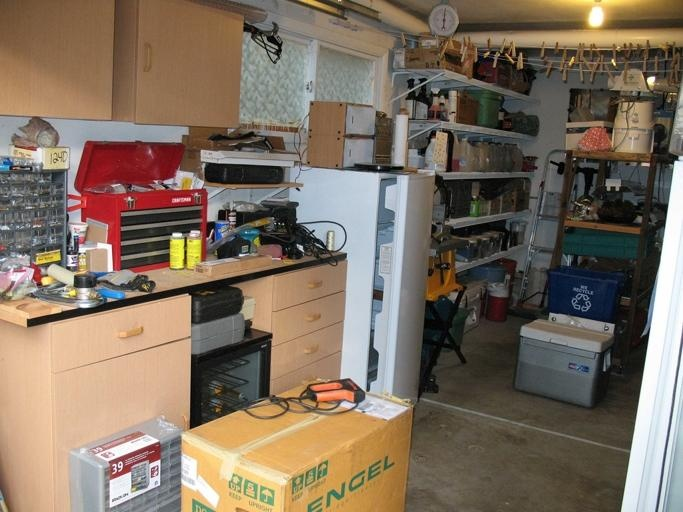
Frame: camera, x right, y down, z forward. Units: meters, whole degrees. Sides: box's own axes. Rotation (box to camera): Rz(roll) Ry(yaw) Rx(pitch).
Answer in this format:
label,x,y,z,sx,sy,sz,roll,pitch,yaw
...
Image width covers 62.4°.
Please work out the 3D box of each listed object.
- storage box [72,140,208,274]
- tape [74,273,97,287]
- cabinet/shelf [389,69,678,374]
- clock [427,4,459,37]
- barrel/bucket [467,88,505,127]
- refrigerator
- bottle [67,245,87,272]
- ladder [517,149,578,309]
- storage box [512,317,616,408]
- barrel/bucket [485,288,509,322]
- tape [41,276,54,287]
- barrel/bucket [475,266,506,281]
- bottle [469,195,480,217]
label,x,y,z,sx,sy,sz,roll,pitch,yaw
storage box,-1.050,-0.271,3.001,0.361,0.663,0.637,9,13,38
tape,-1.073,0.104,2.375,0.085,0.059,0.056,-1,14,-16
cabinet/shelf,1.682,-0.335,5.005,1.039,2.840,2.890,13,13,41
clock,0.777,-1.768,4.283,0.220,0.240,0.065,2,22,22
barrel/bucket,1.477,-1.527,5.889,0.444,0.271,0.340,-5,12,-36
refrigerator,0.142,0.173,4.052,0.796,1.498,1.030,6,10,25
bottle,-1.253,0.014,2.668,0.087,0.111,0.087,0,11,0
ladder,2.389,-0.305,6.716,0.625,1.929,0.456,7,12,23
storage box,1.706,0.776,4.461,0.902,0.587,0.692,8,9,33
barrel/bucket,1.671,0.518,6.104,0.226,0.381,0.111,2,11,8
tape,-1.326,0.115,2.564,0.054,0.033,0.050,-10,1,-18
barrel/bucket,1.648,0.199,6.279,0.280,0.111,0.193,6,9,7
bottle,1.363,-0.511,5.829,0.093,0.208,0.145,2,11,12
